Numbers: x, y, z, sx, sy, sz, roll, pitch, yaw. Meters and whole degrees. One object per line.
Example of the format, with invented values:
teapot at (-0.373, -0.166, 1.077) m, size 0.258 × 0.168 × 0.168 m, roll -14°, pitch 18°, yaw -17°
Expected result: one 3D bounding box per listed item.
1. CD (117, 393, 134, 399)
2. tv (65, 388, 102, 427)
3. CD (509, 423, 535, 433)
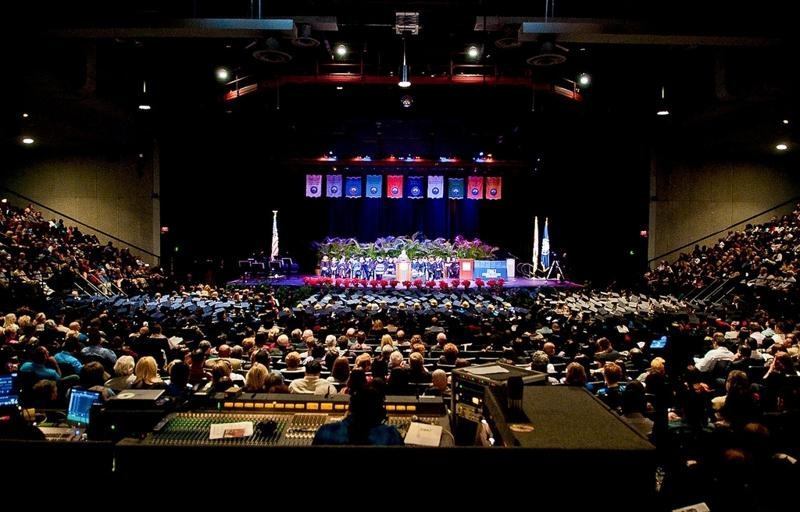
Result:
CD at (-5.023, 2.570, 12.900) m, size 0.295 × 0.120 × 0.108 m, roll -1°, pitch -6°, yaw 8°
tv at (-6.244, 3.020, 13.923) m, size 0.855 × 0.719 × 0.090 m, roll -1°, pitch -10°, yaw 10°
CD at (2.120, 3.018, 12.313) m, size 0.261 × 0.032 × 0.199 m, roll 0°, pitch 4°, yaw 35°
